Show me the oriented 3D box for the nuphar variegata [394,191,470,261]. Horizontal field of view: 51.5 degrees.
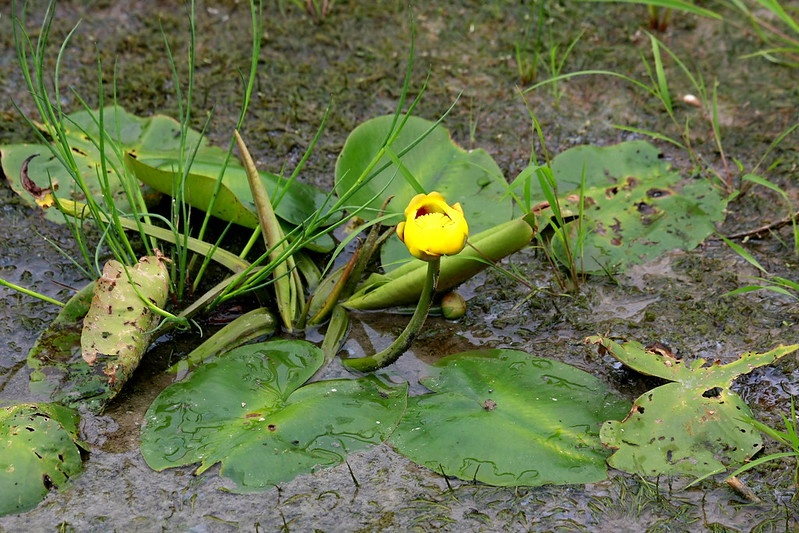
[{"bbox_3d":[0.120,-0.127,2.781,0.202,0.096,0.223,-13,63,0],"label":"nuphar variegata"}]
